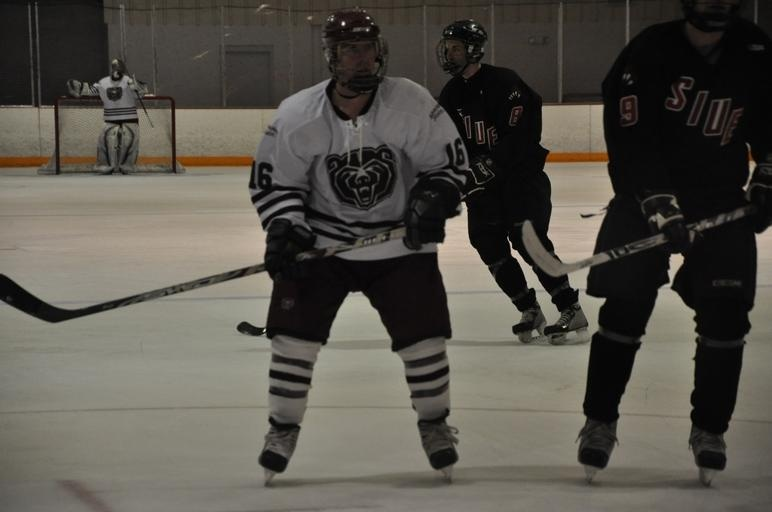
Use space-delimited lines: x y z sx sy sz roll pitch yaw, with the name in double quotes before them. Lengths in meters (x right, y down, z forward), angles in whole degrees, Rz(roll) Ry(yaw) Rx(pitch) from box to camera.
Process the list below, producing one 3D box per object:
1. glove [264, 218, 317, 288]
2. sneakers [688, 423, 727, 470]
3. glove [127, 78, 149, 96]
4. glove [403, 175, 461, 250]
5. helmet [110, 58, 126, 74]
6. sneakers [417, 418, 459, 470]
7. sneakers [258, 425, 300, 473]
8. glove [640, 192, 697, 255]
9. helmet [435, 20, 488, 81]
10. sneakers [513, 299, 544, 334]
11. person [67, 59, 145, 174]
"glove" -0.303 -0.009 2.493 0.152 0.187 0.085 3 -17 14
"sneakers" 1.018 0.623 2.456 0.109 0.144 0.104 5 14 20
"glove" -4.161 -2.827 13.025 0.294 0.285 0.146 -7 15 -29
"glove" 0.148 -0.132 2.475 0.177 0.222 0.092 4 -3 -22
"helmet" -4.516 -3.181 13.108 0.227 0.250 0.453 -4 13 -15
"sneakers" 0.169 0.599 2.503 0.083 0.074 0.198 -13 15 -6
"sneakers" -0.339 0.628 2.502 0.112 0.164 0.148 1 13 3
"glove" 0.881 -0.113 2.426 0.126 0.201 0.089 -25 -13 3
"helmet" 0.446 -1.051 3.990 0.337 0.288 0.244 -1 2 -25
"sneakers" 0.730 0.335 3.918 0.121 0.178 0.298 6 14 25
"person" -4.605 -2.353 13.195 1.122 1.882 0.597 -1 13 -5
